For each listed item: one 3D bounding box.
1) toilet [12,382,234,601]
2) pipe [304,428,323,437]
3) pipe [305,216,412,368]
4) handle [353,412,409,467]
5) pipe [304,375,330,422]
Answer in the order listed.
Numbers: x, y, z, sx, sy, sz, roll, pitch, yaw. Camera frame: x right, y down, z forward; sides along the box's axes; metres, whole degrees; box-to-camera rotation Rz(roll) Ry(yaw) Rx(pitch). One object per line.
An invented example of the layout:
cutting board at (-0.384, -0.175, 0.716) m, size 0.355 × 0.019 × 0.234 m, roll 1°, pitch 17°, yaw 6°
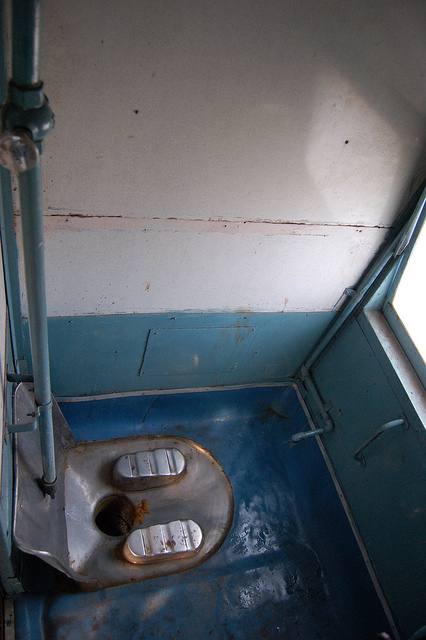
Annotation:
toilet at (-0.268, 0.567, 1.695) m, size 0.665 × 0.749 × 0.544 m, roll -8°, pitch 47°, yaw -21°
pipe at (0.406, 0.451, 2.041) m, size 0.058 × 0.013 × 0.016 m, roll -6°, pitch 60°, yaw -36°
pipe at (0.493, -0.011, 1.993) m, size 0.083 × 0.949 × 0.046 m, roll 23°, pitch 49°, yaw 0°
handle at (0.553, 0.400, 1.738) m, size 0.061 × 0.213 × 0.121 m, roll 29°, pitch 28°, yaw -16°
pipe at (0.418, 0.310, 2.095) m, size 0.220 × 0.038 × 0.035 m, roll 63°, pitch 7°, yaw 23°
